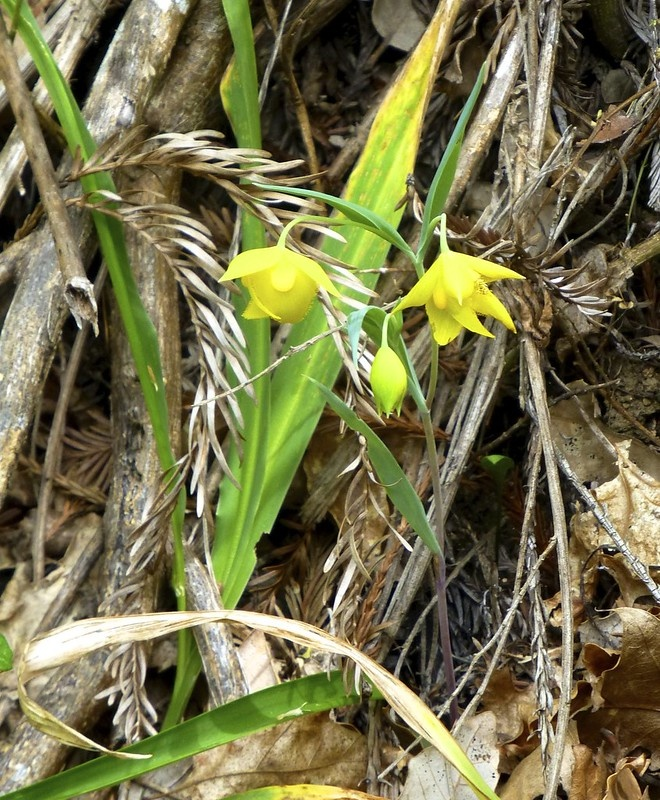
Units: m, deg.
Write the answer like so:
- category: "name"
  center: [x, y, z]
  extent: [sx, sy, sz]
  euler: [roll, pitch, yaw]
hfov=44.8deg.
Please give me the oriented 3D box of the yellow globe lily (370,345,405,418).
- category: "yellow globe lily"
  center: [0.073, -0.029, 1.037]
  extent: [0.050, 0.048, 0.096]
  euler: [2, 88, -23]

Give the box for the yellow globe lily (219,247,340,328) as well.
- category: "yellow globe lily"
  center: [-0.063, -0.153, 1.046]
  extent: [0.129, 0.096, 0.078]
  euler: [6, 62, 1]

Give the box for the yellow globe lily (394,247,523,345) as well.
- category: "yellow globe lily"
  center: [0.149, -0.150, 1.001]
  extent: [0.146, 0.078, 0.118]
  euler: [12, 20, 1]
